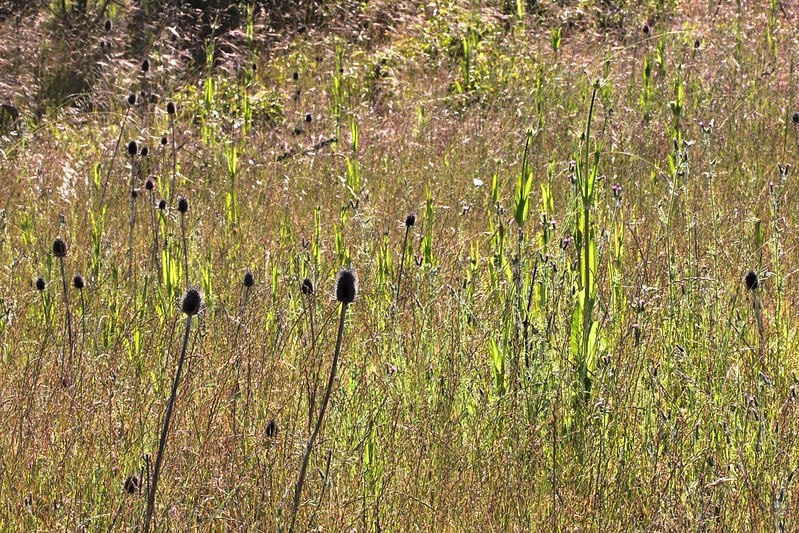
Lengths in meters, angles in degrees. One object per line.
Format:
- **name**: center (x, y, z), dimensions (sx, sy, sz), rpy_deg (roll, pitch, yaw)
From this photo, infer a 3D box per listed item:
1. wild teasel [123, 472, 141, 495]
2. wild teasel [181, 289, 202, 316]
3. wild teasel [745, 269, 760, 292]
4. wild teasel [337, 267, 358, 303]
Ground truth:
- **wild teasel**: center (-1.866, 1.514, 7.872), dimensions (0.064, 0.112, 0.155), rpy_deg (12, 95, -1)
- **wild teasel**: center (-1.377, 0.231, 7.505), dimensions (0.111, 0.153, 0.173), rpy_deg (8, 114, 0)
- **wild teasel**: center (2.520, 0.101, 8.109), dimensions (0.082, 0.038, 0.155), rpy_deg (1, 100, -17)
- **wild teasel**: center (-0.359, 0.147, 7.583), dimensions (0.167, 0.166, 0.337), rpy_deg (2, 87, -9)
